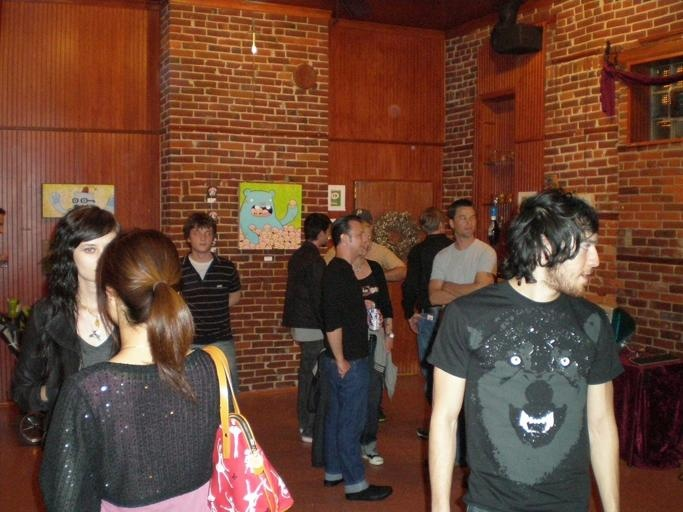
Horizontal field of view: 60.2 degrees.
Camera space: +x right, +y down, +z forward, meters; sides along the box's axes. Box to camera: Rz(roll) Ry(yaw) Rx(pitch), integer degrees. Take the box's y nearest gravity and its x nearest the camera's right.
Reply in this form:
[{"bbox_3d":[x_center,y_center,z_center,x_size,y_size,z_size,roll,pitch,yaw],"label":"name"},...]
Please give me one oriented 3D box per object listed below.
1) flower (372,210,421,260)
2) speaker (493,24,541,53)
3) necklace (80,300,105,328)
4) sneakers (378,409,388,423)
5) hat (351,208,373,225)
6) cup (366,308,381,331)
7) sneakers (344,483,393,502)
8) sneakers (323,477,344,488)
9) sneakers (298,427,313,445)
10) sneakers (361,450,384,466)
[{"bbox_3d":[0.719,-0.273,7.677,0.577,0.630,0.229,-5,3,-26],"label":"flower"},{"bbox_3d":[1.964,-2.509,6.597,0.303,0.257,0.448,-4,10,-22],"label":"speaker"},{"bbox_3d":[-1.208,0.285,2.848,0.137,0.151,0.044,-2,-10,-10],"label":"necklace"},{"bbox_3d":[0.418,1.624,6.037,0.138,0.143,0.070,-1,3,-37],"label":"sneakers"},{"bbox_3d":[0.229,-0.439,6.447,0.200,0.273,0.259,3,7,7],"label":"hat"},{"bbox_3d":[0.276,0.535,4.985,0.137,0.195,0.081,-1,5,-17],"label":"cup"},{"bbox_3d":[0.217,1.759,4.473,0.324,0.143,0.136,-5,0,-3],"label":"sneakers"},{"bbox_3d":[-0.075,1.782,4.660,0.168,0.078,0.062,-1,4,-29],"label":"sneakers"},{"bbox_3d":[-0.341,1.677,5.550,0.079,0.176,0.247,4,7,13],"label":"sneakers"},{"bbox_3d":[0.284,1.735,5.081,0.073,0.079,0.187,0,-2,-27],"label":"sneakers"}]
